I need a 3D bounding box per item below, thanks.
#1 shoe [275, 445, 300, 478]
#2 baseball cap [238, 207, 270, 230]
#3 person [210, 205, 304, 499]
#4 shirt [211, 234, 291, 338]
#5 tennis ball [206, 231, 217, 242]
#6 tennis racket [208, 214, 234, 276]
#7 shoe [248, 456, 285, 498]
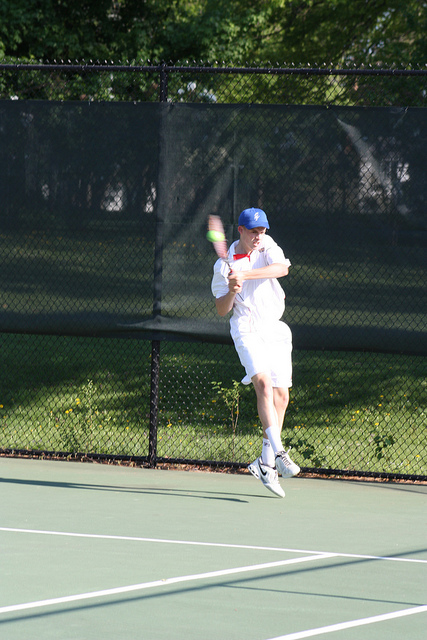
[{"bbox_3d":[0.460,0.909,5.200,0.116,0.088,0.240,49,-4,-11],"label":"shoe"},{"bbox_3d":[0.252,-0.649,5.173,0.115,0.103,0.171,-3,6,-14],"label":"baseball cap"},{"bbox_3d":[0.322,0.229,5.669,0.656,2.082,1.280,1,4,6],"label":"person"},{"bbox_3d":[0.266,-0.220,5.365,0.475,0.633,0.162,-2,3,-6],"label":"shirt"},{"bbox_3d":[-0.008,-0.546,5.328,0.055,0.070,0.112,1,4,-5],"label":"tennis ball"},{"bbox_3d":[0.039,-0.537,5.369,0.037,0.520,0.131,-18,-13,9],"label":"tennis racket"},{"bbox_3d":[0.341,1.002,5.242,0.220,0.245,0.141,1,4,1],"label":"shoe"}]
